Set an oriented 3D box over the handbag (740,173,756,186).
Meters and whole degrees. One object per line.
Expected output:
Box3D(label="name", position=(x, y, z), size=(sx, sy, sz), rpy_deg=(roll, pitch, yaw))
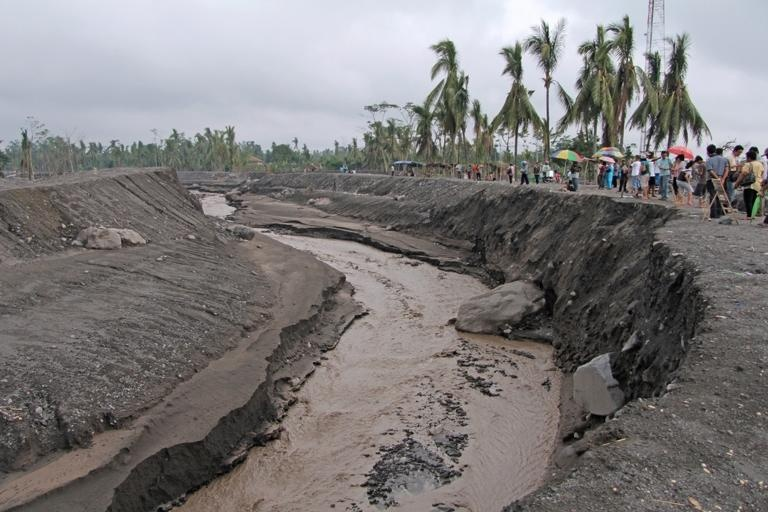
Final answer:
Box3D(label="handbag", position=(9.096, -1.923, 13.094), size=(0.130, 0.289, 0.329), rpy_deg=(5, 3, -6))
